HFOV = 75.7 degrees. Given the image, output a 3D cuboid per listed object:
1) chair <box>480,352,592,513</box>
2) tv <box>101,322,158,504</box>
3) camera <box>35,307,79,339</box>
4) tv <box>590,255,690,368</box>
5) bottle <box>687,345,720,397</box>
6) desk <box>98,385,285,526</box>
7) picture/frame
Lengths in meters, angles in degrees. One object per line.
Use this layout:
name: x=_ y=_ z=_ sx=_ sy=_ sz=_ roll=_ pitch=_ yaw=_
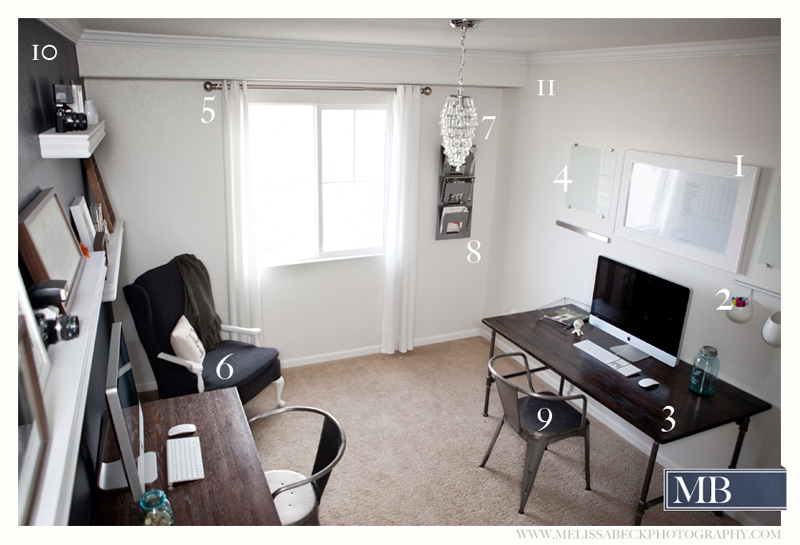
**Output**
chair: x=0.929 y=1.052 z=3.521 sx=0.742 sy=0.845 sz=0.770 roll=11 pitch=20 yaw=35
tv: x=-1.389 y=0.708 z=2.640 sx=0.219 sy=0.583 sz=0.610 roll=-5 pitch=28 yaw=-14
camera: x=-1.234 y=0.184 z=1.894 sx=0.128 sy=0.118 sz=0.079 roll=-7 pitch=26 yaw=-10
tv: x=1.647 y=0.277 z=3.504 sx=0.189 sy=0.559 sz=0.595 roll=-9 pitch=26 yaw=-25
bottle: x=1.903 y=0.606 z=3.214 sx=0.147 sy=0.307 sz=0.138 roll=-1 pitch=17 yaw=0
desk: x=-0.998 y=0.972 z=2.492 sx=0.578 sy=0.215 sz=0.896 roll=-6 pitch=39 yaw=-16
picture/frame: x=1.940 y=-0.404 z=3.422 sx=0.036 sy=0.568 sz=0.791 roll=-4 pitch=23 yaw=-26
